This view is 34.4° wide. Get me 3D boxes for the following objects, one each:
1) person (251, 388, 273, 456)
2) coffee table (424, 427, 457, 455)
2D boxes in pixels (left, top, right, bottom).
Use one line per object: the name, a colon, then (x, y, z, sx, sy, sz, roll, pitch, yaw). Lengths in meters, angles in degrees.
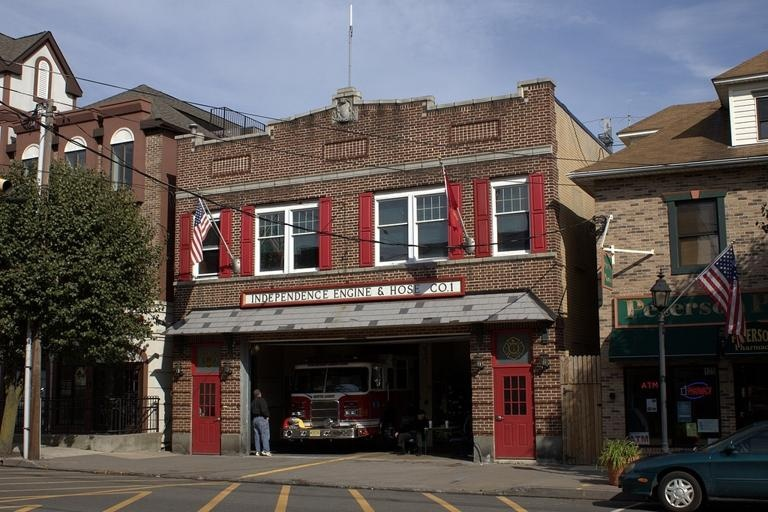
person: (-4.671, 6.256, 47.198, 0.738, 2.514, 1.531, 0, -14, -6)
coffee table: (2.244, 7.227, 49.025, 1.142, 0.805, 0.622, -12, -18, 43)
